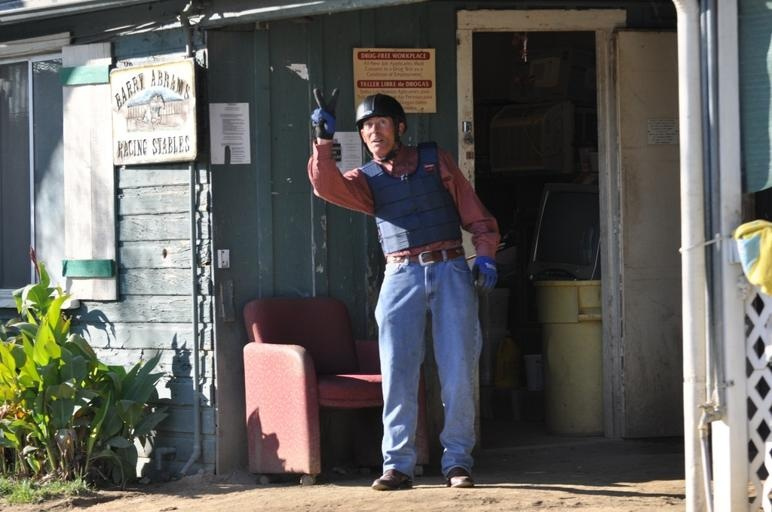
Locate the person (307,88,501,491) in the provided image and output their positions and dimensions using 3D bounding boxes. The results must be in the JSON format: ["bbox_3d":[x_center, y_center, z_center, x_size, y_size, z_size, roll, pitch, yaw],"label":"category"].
[{"bbox_3d":[0.191,0.242,10.700,1.302,2.997,0.839,-1,11,4],"label":"person"}]

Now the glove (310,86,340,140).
[{"bbox_3d":[-0.452,-1.065,10.569,0.198,0.376,0.266,-2,11,-1],"label":"glove"}]

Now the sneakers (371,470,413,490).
[{"bbox_3d":[0.050,1.679,10.656,0.315,0.135,0.123,6,-8,-31],"label":"sneakers"}]

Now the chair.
[{"bbox_3d":[-0.425,1.043,11.105,1.236,1.356,1.292,-1,0,-21],"label":"chair"}]

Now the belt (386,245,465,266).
[{"bbox_3d":[0.281,-0.004,10.688,0.577,0.129,0.149,0,11,5],"label":"belt"}]

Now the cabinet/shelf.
[{"bbox_3d":[1.569,0.863,12.205,0.594,1.297,0.436,2,12,16],"label":"cabinet/shelf"}]

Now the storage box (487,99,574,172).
[{"bbox_3d":[1.348,-1.215,13.994,0.906,0.347,1.155,5,30,15],"label":"storage box"}]

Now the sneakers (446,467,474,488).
[{"bbox_3d":[0.545,1.651,10.592,0.182,0.136,0.112,-2,11,-4],"label":"sneakers"}]

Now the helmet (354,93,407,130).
[{"bbox_3d":[0.005,-1.068,10.767,0.354,0.293,0.359,3,-9,7],"label":"helmet"}]

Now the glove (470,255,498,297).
[{"bbox_3d":[0.734,0.139,10.608,0.199,0.257,0.112,-3,-9,0],"label":"glove"}]
